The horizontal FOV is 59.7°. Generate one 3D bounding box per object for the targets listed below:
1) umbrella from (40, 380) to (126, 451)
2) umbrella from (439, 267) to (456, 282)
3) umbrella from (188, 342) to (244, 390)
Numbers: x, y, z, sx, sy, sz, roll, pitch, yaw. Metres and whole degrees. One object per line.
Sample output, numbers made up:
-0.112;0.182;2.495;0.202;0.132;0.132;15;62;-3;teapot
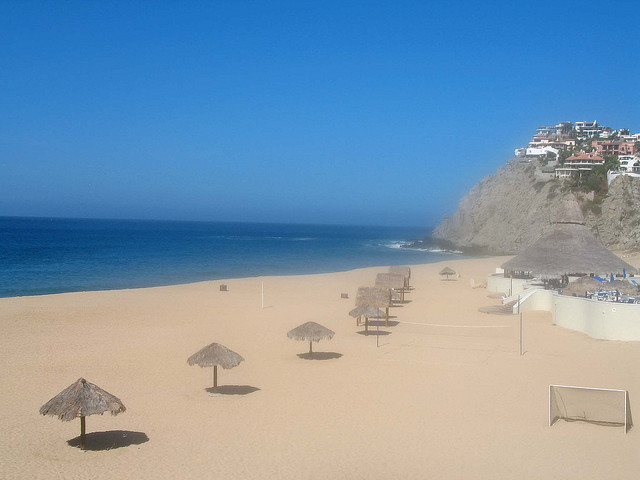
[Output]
-7.312;5.315;17.251;2.570;2.044;2.380;3;-1;-15;umbrella
11.387;3.087;49.915;1.272;1.083;1.247;-4;8;-8;umbrella
-3.992;4.738;21.051;1.646;1.216;1.558;1;0;-16;umbrella
